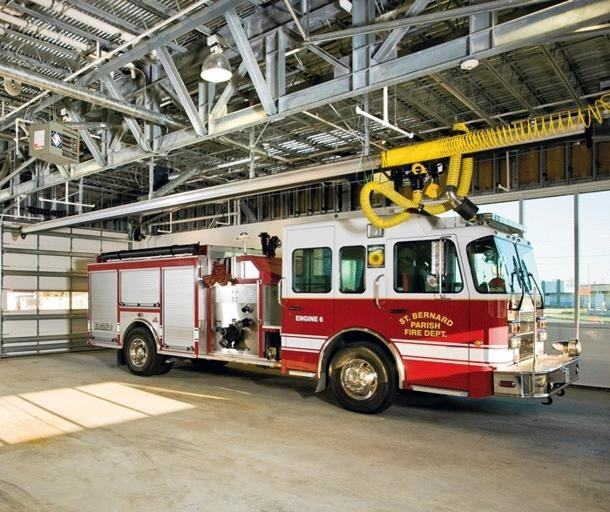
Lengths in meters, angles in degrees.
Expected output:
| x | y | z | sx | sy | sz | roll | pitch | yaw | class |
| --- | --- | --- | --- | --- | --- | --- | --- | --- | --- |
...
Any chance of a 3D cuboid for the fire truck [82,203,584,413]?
| x | y | z | sx | sy | sz | roll | pitch | yaw | class |
| --- | --- | --- | --- | --- | --- | --- | --- | --- | --- |
| 0.446 | 1.002 | 11.555 | 10.197 | 3.102 | 5.196 | -1 | -1 | 40 | fire truck |
